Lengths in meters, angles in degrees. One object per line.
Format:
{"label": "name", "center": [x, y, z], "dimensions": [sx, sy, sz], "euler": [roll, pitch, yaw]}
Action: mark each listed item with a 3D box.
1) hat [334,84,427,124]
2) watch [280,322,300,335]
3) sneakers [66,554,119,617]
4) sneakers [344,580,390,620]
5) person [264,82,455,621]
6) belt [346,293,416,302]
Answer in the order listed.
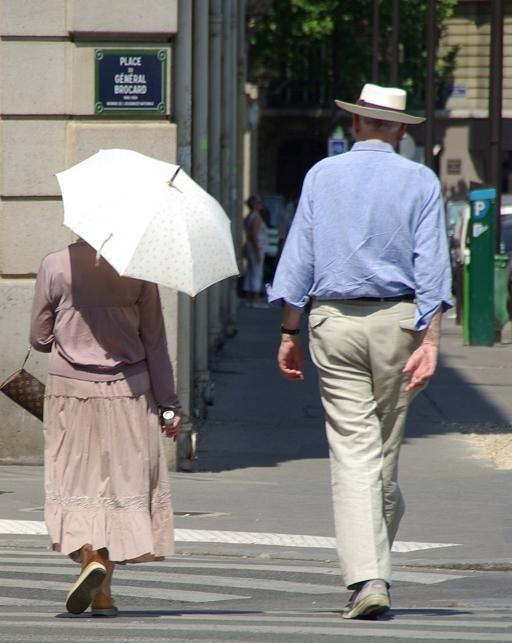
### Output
{"label": "hat", "center": [0.554, -0.945, 8.659], "dimensions": [0.250, 0.097, 0.232], "euler": [13, 1, -21]}
{"label": "watch", "center": [0.153, 0.040, 8.627], "dimensions": [0.053, 0.023, 0.055], "euler": [10, 6, -42]}
{"label": "sneakers", "center": [-0.710, 1.152, 8.505], "dimensions": [0.136, 0.339, 0.148], "euler": [3, 48, -6]}
{"label": "sneakers", "center": [0.463, 1.189, 8.405], "dimensions": [0.199, 0.202, 0.203], "euler": [-1, 7, 3]}
{"label": "person", "center": [0.486, 0.113, 8.610], "dimensions": [0.637, 2.266, 0.706], "euler": [-6, 8, -41]}
{"label": "belt", "center": [0.538, -0.092, 8.490], "dimensions": [0.284, 0.034, 0.036], "euler": [-2, 7, -8]}
